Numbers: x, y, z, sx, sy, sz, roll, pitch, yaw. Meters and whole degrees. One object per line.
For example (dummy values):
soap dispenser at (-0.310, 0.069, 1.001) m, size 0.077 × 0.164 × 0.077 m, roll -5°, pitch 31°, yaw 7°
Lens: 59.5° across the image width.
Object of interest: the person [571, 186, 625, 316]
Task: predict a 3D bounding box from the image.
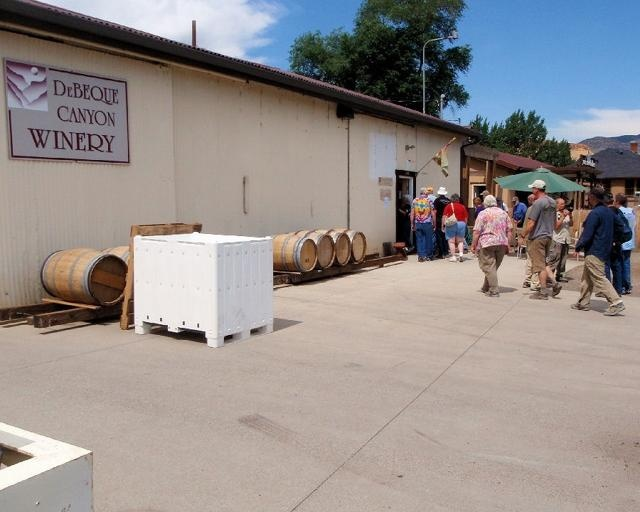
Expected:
person at (4.287, -0.069, 8.619) m, size 0.610 × 1.956 × 0.905 m, roll -1°, pitch 4°, yaw -9°

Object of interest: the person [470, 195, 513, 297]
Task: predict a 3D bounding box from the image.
person at (3.012, -0.184, 9.954) m, size 0.598 × 1.745 × 0.776 m, roll 5°, pitch 8°, yaw 29°

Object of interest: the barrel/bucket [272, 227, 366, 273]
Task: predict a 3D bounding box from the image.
barrel/bucket at (0.030, -0.096, 11.399) m, size 0.583 × 0.745 × 2.294 m, roll 7°, pitch 9°, yaw 39°

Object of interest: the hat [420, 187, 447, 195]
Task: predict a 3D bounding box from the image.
hat at (3.308, -1.887, 16.391) m, size 0.596 × 0.208 × 0.401 m, roll 2°, pitch 6°, yaw 15°

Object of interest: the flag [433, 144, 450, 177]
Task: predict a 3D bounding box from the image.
flag at (4.081, -3.211, 18.820) m, size 0.501 × 1.079 × 2.179 m, roll 2°, pitch 8°, yaw 14°

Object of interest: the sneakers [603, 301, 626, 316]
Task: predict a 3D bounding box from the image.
sneakers at (4.475, 0.776, 8.514) m, size 0.241 × 0.239 × 0.483 m, roll 5°, pitch 8°, yaw 28°

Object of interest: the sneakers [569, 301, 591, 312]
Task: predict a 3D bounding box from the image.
sneakers at (4.132, 0.797, 8.857) m, size 0.237 × 0.189 × 0.126 m, roll 12°, pitch 12°, yaw 35°
